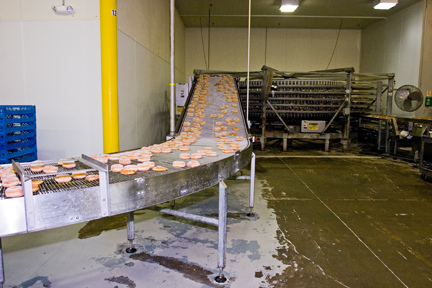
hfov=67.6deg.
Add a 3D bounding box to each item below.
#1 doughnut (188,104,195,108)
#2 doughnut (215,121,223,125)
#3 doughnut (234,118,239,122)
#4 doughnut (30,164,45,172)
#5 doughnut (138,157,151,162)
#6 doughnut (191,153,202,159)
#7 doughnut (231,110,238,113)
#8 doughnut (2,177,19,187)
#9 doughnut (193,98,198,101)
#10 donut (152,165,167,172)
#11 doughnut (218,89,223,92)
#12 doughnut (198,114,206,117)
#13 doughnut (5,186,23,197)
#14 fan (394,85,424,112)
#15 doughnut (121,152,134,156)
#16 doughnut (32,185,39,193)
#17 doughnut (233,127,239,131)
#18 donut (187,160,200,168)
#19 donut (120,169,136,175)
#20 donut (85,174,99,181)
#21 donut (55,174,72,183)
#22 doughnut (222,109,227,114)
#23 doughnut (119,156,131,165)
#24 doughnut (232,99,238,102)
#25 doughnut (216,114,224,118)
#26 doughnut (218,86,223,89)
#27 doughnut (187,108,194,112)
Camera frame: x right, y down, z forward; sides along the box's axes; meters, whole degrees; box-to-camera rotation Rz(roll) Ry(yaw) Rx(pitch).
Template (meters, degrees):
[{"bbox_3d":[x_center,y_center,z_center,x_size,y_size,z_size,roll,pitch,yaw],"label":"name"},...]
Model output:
[{"bbox_3d":[-0.493,-0.765,6.412,0.137,0.052,0.152,1,14,-4],"label":"doughnut"},{"bbox_3d":[0.049,-0.370,5.723,0.136,0.041,0.130,2,14,0],"label":"doughnut"},{"bbox_3d":[0.365,-0.434,5.836,0.079,0.042,0.078,0,1,-42],"label":"doughnut"},{"bbox_3d":[-1.841,0.243,3.311,0.129,0.049,0.160,-6,16,-30],"label":"doughnut"},{"bbox_3d":[-0.805,0.177,3.555,0.123,0.042,0.105,2,14,-2],"label":"doughnut"},{"bbox_3d":[-0.236,0.139,3.750,0.116,0.045,0.080,0,14,-7],"label":"doughnut"},{"bbox_3d":[0.357,-0.627,6.155,0.125,0.046,0.060,1,14,-4],"label":"doughnut"},{"bbox_3d":[-1.939,0.353,3.028,0.136,0.056,0.178,-7,16,-33],"label":"doughnut"},{"bbox_3d":[-0.418,-0.923,6.643,0.078,0.044,0.106,1,14,-5],"label":"doughnut"},{"bbox_3d":[-0.591,0.240,3.364,0.142,0.035,0.229,0,14,-9],"label":"donut"},{"bbox_3d":[0.093,-1.179,7.029,0.102,0.049,0.114,2,14,-1],"label":"doughnut"},{"bbox_3d":[-0.257,-0.539,6.036,0.130,0.051,0.092,2,14,-2],"label":"doughnut"},{"bbox_3d":[-1.788,0.417,2.855,0.151,0.068,0.125,0,14,-9],"label":"doughnut"},{"bbox_3d":[4.938,-1.180,8.263,0.590,0.669,0.389,14,18,38],"label":"fan"},{"bbox_3d":[-1.040,0.114,3.778,0.144,0.015,0.126,0,14,-9],"label":"doughnut"},{"bbox_3d":[-1.642,0.394,2.913,0.054,0.034,0.051,3,2,-5],"label":"doughnut"},{"bbox_3d":[0.337,-0.261,5.470,0.098,0.048,0.106,6,14,14],"label":"doughnut"},{"bbox_3d":[-0.246,0.213,3.416,0.136,0.041,0.180,5,14,14],"label":"donut"},{"bbox_3d":[-0.892,0.276,3.246,0.160,0.053,0.076,0,14,-8],"label":"donut"},{"bbox_3d":[-1.218,0.328,3.147,0.116,0.036,0.084,-1,14,-13],"label":"donut"},{"bbox_3d":[-1.487,0.325,3.117,0.137,0.057,0.144,-5,15,-27],"label":"donut"},{"bbox_3d":[0.162,-0.626,6.176,0.092,0.059,0.121,3,14,2],"label":"doughnut"},{"bbox_3d":[-0.992,0.175,3.490,0.101,0.024,0.095,1,19,-10],"label":"doughnut"},{"bbox_3d":[0.386,-0.898,6.589,0.125,0.047,0.091,2,14,-2],"label":"doughnut"},{"bbox_3d":[0.070,-0.533,6.028,0.143,0.053,0.167,3,14,3],"label":"doughnut"},{"bbox_3d":[0.093,-1.272,7.163,0.110,0.042,0.121,3,14,3],"label":"doughnut"},{"bbox_3d":[-0.501,-0.657,6.243,0.126,0.048,0.101,2,14,-2],"label":"doughnut"}]
